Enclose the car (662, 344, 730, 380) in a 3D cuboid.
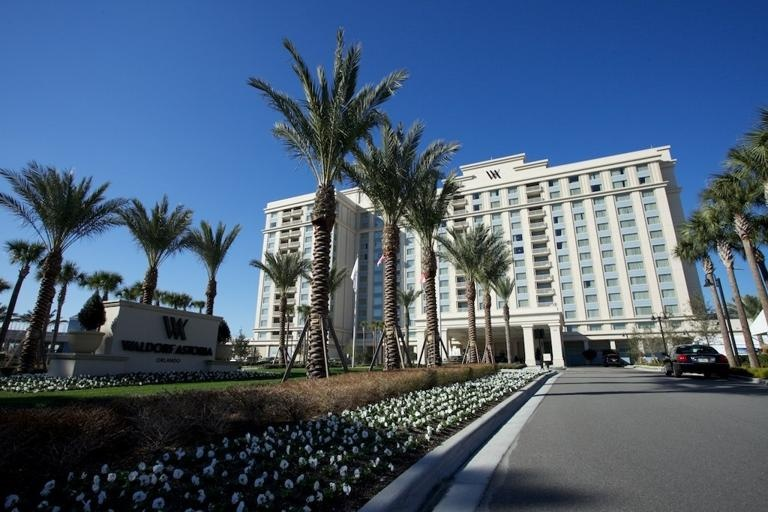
[{"bbox_3d":[17.007,5.692,20.271,2.281,1.739,1.630,-15,-19,36],"label":"car"}]
